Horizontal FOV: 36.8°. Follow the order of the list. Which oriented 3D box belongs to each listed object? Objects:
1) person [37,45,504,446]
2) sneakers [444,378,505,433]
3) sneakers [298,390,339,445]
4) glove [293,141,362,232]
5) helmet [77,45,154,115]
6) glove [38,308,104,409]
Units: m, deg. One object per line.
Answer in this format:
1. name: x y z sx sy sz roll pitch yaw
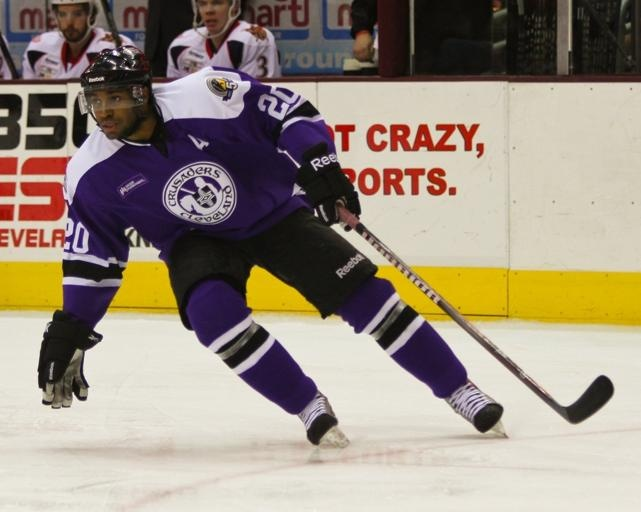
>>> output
1. person: -0.276 0.022 3.558 1.098 0.817 2.047 -29 -30 32
2. sneakers: 0.502 0.488 3.143 0.107 0.081 0.191 -39 40 -11
3. sneakers: -0.005 0.520 3.094 0.071 0.088 0.207 -47 5 8
4. glove: 0.037 -0.221 3.145 0.171 0.275 0.110 -33 0 3
5. helmet: -0.661 -0.586 3.204 0.200 0.234 0.254 -6 3 38
6. glove: -0.835 0.348 3.166 0.100 0.317 0.259 7 -12 3
